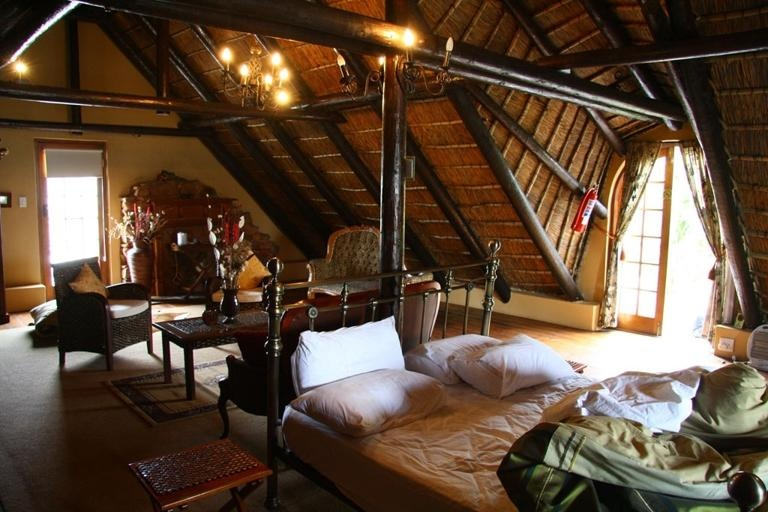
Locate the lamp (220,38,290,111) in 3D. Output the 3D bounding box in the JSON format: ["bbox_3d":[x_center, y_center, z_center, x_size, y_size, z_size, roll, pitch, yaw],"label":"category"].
[{"bbox_3d":[-1.244,-1.727,5.166,0.604,0.633,0.576,3,3,30],"label":"lamp"}]

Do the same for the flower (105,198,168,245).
[{"bbox_3d":[-3.640,-0.509,7.971,0.657,0.507,0.857,-8,0,27],"label":"flower"}]

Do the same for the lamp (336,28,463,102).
[{"bbox_3d":[0.191,-1.574,4.540,0.984,0.334,0.478,-16,16,-36],"label":"lamp"}]

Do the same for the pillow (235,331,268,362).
[{"bbox_3d":[-0.992,0.690,4.106,0.258,0.240,0.106,-2,15,5],"label":"pillow"}]

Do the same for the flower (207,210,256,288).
[{"bbox_3d":[-1.534,-0.020,5.498,0.507,0.752,0.383,3,1,-24],"label":"flower"}]
